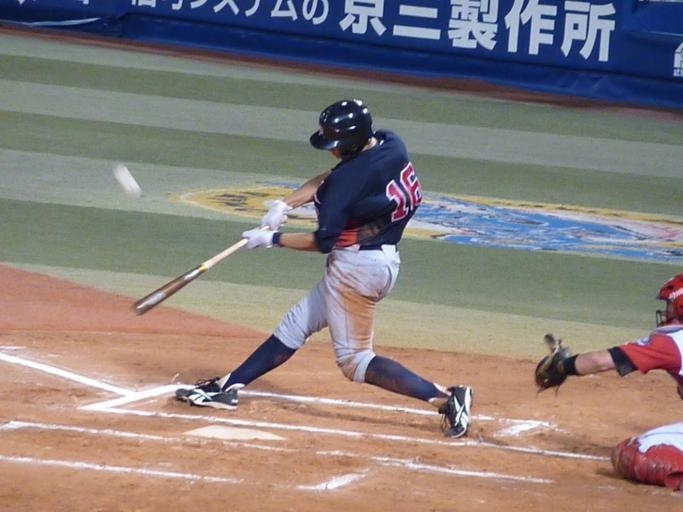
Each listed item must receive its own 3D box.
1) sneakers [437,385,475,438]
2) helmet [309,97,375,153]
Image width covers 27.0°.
[{"bbox_3d":[1.034,1.407,12.758,0.300,0.523,0.207,-1,6,-1],"label":"sneakers"},{"bbox_3d":[0.038,-1.150,12.713,0.634,0.385,0.409,-14,38,8],"label":"helmet"}]
